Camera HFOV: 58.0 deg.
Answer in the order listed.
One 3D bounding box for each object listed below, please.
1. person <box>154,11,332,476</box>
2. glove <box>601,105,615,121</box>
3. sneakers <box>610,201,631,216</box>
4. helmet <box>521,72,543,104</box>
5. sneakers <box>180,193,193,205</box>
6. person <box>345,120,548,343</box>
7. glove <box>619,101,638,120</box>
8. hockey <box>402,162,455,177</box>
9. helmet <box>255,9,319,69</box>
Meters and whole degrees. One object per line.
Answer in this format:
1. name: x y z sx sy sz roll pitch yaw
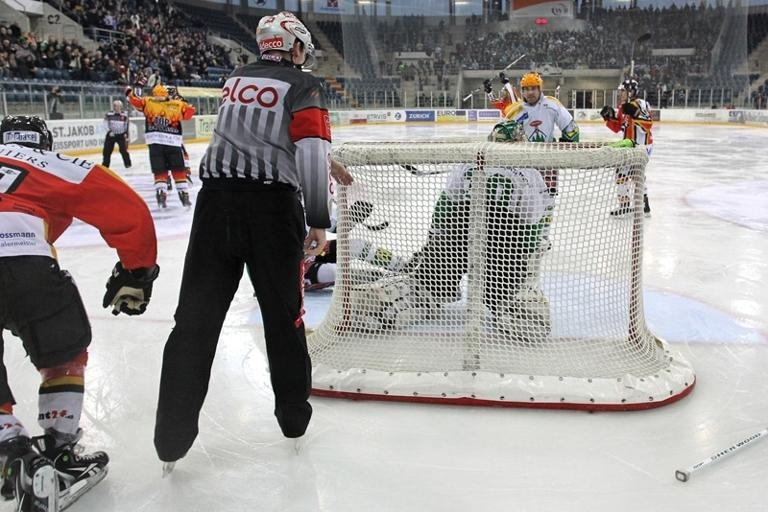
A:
1. person: -0.732 -0.098 3.825 0.825 2.492 0.771 4 -2 -1
2. glove: 3.132 -1.997 9.692 0.154 0.143 0.397 9 20 21
3. sneakers: 1.511 -0.297 4.398 0.118 0.041 0.071 -18 22 -29
4. helmet: 1.535 -1.752 7.221 0.204 0.304 0.472 3 18 11
5. sneakers: -2.838 -0.809 9.909 0.138 0.158 0.201 0 3 -17
6. person: 0.505 -0.046 4.439 1.144 1.127 0.479 4 18 12
7. glove: 3.190 -1.907 9.025 0.206 0.210 0.240 5 18 15
8. hockey: 0.250 -0.537 4.350 0.305 0.082 0.044 -4 18 -13
9. helmet: -0.533 -1.157 3.709 0.320 0.284 0.265 -6 11 -41
